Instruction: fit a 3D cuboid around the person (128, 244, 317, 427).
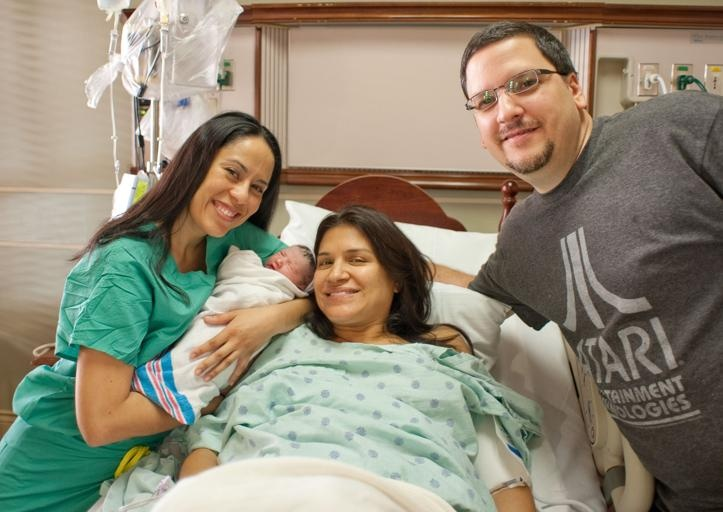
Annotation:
[{"bbox_3d":[-0.504,0.230,1.992,0.429,0.255,0.865,33,41,6],"label":"person"}]
